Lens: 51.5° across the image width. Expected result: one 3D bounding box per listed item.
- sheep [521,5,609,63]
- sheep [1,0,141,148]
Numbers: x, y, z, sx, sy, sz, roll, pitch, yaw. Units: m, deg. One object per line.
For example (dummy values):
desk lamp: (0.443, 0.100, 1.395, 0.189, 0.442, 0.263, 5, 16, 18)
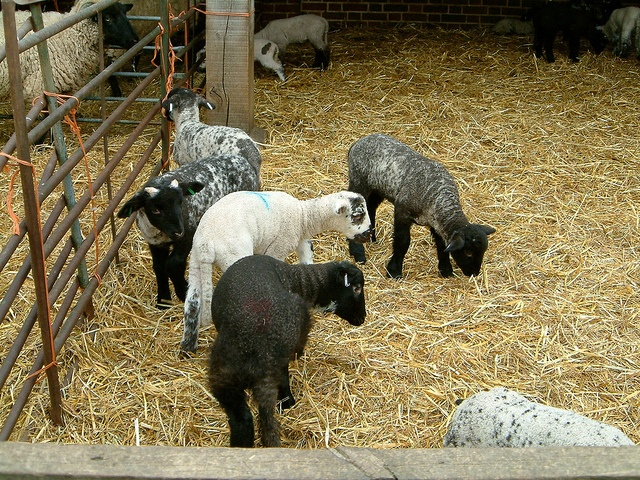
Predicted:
sheep: (4.071, -3.384, 10.865, 1.200, 0.894, 0.708, -9, 22, -25)
sheep: (-3.078, -2.105, 8.203, 1.672, 1.624, 0.871, -11, 23, -29)
